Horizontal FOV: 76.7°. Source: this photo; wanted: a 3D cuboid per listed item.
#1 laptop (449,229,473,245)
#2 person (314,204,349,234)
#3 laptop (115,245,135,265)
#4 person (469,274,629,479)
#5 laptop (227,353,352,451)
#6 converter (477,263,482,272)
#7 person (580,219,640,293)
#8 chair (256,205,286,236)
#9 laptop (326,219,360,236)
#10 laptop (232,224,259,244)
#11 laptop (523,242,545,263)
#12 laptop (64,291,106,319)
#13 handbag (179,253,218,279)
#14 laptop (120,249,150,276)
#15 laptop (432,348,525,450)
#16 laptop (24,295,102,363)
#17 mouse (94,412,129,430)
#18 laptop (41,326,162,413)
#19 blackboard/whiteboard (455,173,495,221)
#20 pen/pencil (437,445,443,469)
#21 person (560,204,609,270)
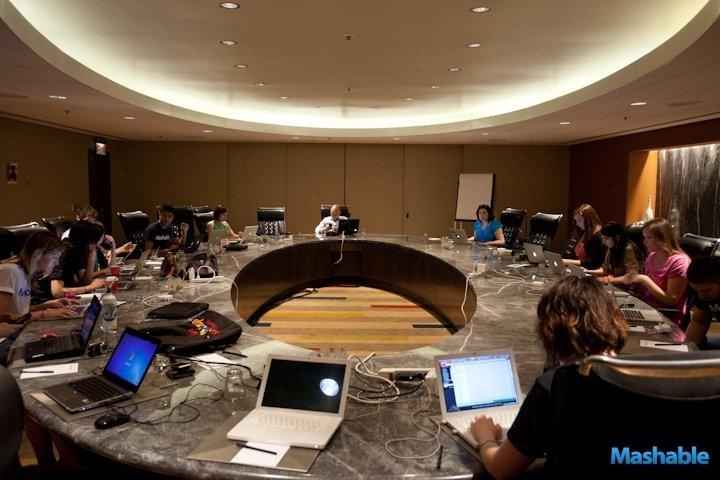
[{"bbox_3d":[1.657,-0.149,7.335,0.243,0.247,0.348,-11,13,-36],"label":"laptop"},{"bbox_3d":[-0.519,-0.370,8.445,0.530,0.738,0.613,4,3,6],"label":"person"},{"bbox_3d":[-2.904,0.178,5.600,0.141,0.069,0.200,-13,14,28],"label":"laptop"},{"bbox_3d":[0.925,0.588,2.394,0.735,1.017,0.869,-2,1,-17],"label":"person"},{"bbox_3d":[-0.337,0.832,2.351,0.435,0.278,0.428,0,5,16],"label":"laptop"},{"bbox_3d":[1.346,0.307,5.153,0.075,0.080,0.076,-1,3,3],"label":"converter"},{"bbox_3d":[2.755,0.139,4.815,0.672,0.858,0.657,0,4,4],"label":"person"},{"bbox_3d":[-1.644,-0.360,8.316,0.465,0.699,0.539,1,-2,-17],"label":"chair"},{"bbox_3d":[-0.278,-0.269,8.202,0.412,0.305,0.334,2,18,-24],"label":"laptop"},{"bbox_3d":[-1.860,-0.088,7.190,0.300,0.305,0.426,19,12,21],"label":"laptop"},{"bbox_3d":[2.128,0.153,5.529,0.202,0.213,0.290,-8,12,-23],"label":"laptop"},{"bbox_3d":[-2.144,0.501,3.510,0.140,0.052,0.209,-2,24,-7],"label":"laptop"},{"bbox_3d":[-1.701,0.229,4.849,0.252,0.158,0.425,0,9,-3],"label":"handbag"},{"bbox_3d":[-2.437,0.260,4.826,0.262,0.252,0.384,16,0,-4],"label":"laptop"},{"bbox_3d":[0.616,0.736,2.376,0.445,0.293,0.400,-3,11,-14],"label":"laptop"},{"bbox_3d":[-1.976,0.564,2.999,0.490,0.285,0.467,3,3,44],"label":"laptop"},{"bbox_3d":[-1.274,0.911,2.319,0.116,0.035,0.072,-3,10,-29],"label":"mouse"},{"bbox_3d":[-1.425,0.727,2.487,0.472,0.299,0.469,6,4,-42],"label":"laptop"},{"bbox_3d":[2.520,-0.954,9.888,0.139,1.451,1.172,-1,3,-41],"label":"blackboard/whiteboard"},{"bbox_3d":[0.376,1.022,2.134,0.022,0.021,0.106,-16,10,21],"label":"pen/pencil"},{"bbox_3d":[2.721,0.016,5.670,0.623,0.828,0.582,-11,9,-33],"label":"person"}]
